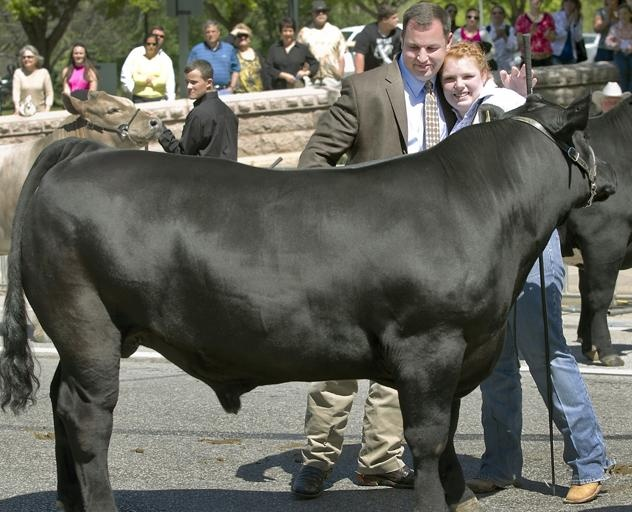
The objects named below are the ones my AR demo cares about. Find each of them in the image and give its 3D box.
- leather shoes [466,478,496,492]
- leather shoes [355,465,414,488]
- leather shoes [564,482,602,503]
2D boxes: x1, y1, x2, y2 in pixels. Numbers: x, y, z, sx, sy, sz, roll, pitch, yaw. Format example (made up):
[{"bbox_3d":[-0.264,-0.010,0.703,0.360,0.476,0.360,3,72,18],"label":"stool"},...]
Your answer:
[{"bbox_3d":[1.058,1.447,9.583,0.203,0.078,0.068,18,16,-9],"label":"leather shoes"},{"bbox_3d":[0.469,1.432,9.787,0.407,0.154,0.136,-2,5,3],"label":"leather shoes"},{"bbox_3d":[1.658,1.468,9.363,0.233,0.060,0.105,-6,3,-41],"label":"leather shoes"}]
